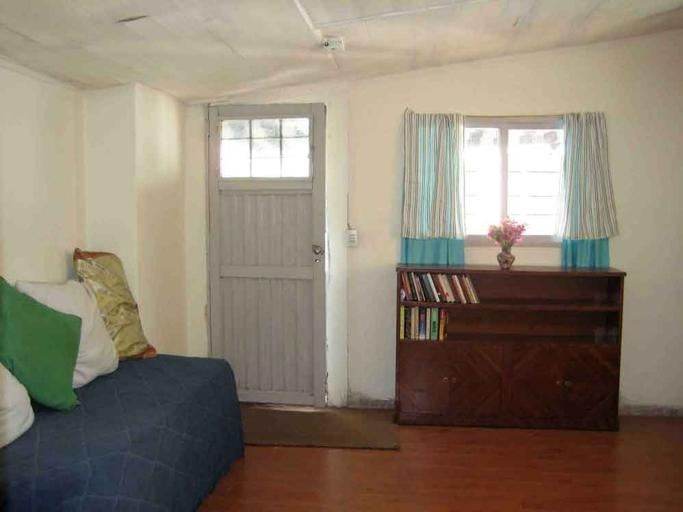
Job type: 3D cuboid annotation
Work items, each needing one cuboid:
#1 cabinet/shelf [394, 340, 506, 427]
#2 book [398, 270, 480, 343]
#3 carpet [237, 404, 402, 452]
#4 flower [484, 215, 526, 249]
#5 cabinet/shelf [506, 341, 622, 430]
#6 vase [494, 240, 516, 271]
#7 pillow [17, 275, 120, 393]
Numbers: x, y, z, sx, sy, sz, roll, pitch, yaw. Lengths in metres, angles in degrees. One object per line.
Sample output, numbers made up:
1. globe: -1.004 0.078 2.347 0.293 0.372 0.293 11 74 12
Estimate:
1. cabinet/shelf: 0.936 1.101 4.662 0.875 0.646 0.516 -3 -23 17
2. book: 0.750 0.403 4.502 0.561 0.518 0.218 1 2 0
3. carpet: -0.132 1.351 4.526 1.500 0.026 0.984 14 -41 -24
4. flower: 1.330 -0.199 4.556 0.256 0.259 0.254 -4 8 -28
5. cabinet/shelf: 1.771 0.981 4.624 1.084 0.777 0.625 0 0 7
6. vase: 1.282 -0.009 4.454 0.195 0.267 0.190 1 -4 1
7. pillow: -1.843 0.513 3.681 0.187 0.619 0.646 -19 -2 18
